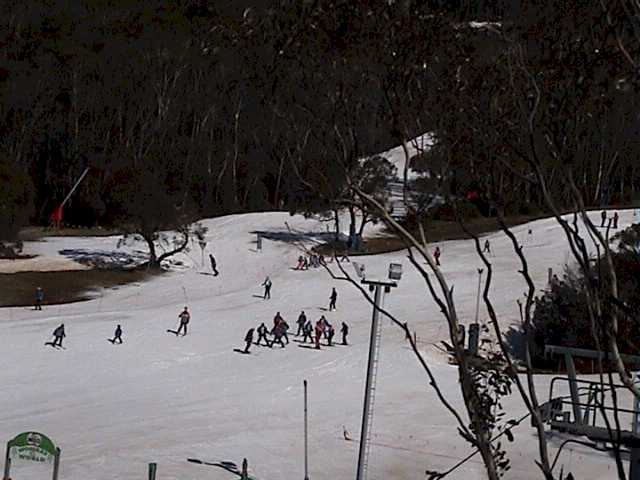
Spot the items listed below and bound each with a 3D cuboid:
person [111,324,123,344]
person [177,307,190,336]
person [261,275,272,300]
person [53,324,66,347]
[{"bbox_3d":[-10.978,5.155,66.107,0.593,1.144,2.615,-3,-6,-10],"label":"person"},{"bbox_3d":[-7.631,4.568,68.160,0.741,1.726,3.256,-3,-6,-7],"label":"person"},{"bbox_3d":[-3.391,3.130,77.997,0.855,0.783,2.275,-3,40,1],"label":"person"},{"bbox_3d":[-13.874,5.171,64.783,0.728,1.200,2.131,-3,-6,-12],"label":"person"}]
